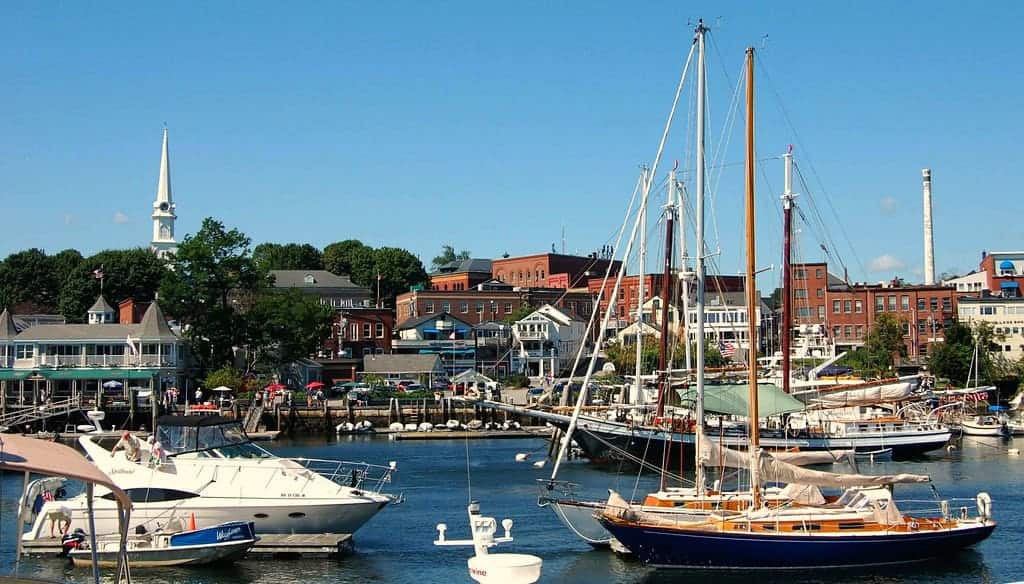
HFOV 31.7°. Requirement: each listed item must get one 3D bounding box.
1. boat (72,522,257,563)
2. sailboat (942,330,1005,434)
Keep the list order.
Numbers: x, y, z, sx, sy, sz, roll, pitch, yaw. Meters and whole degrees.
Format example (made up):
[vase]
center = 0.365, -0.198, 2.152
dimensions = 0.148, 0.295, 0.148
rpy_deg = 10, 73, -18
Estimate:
[boat]
center = -25.291, 19.377, 134.812
dimensions = 15.044, 3.810, 8.641
rpy_deg = -1, -2, -4
[sailboat]
center = 49.498, 8.403, 191.418
dimensions = 7.375, 14.443, 6.543
rpy_deg = 0, -2, 12
